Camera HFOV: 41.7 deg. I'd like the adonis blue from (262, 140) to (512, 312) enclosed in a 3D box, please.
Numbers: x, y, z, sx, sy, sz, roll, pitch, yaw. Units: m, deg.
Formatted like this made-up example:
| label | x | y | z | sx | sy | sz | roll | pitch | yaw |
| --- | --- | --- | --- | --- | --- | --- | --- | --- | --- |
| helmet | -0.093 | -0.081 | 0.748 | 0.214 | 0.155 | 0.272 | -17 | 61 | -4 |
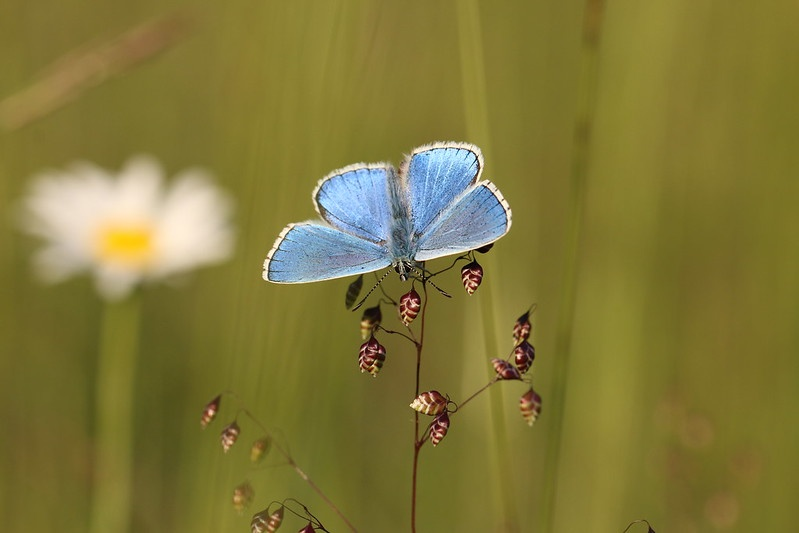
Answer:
| label | x | y | z | sx | sy | sz | roll | pitch | yaw |
| --- | --- | --- | --- | --- | --- | --- | --- | --- | --- |
| adonis blue | 0.004 | -0.061 | 1.518 | 0.377 | 0.259 | 0.076 | -6 | 48 | -17 |
